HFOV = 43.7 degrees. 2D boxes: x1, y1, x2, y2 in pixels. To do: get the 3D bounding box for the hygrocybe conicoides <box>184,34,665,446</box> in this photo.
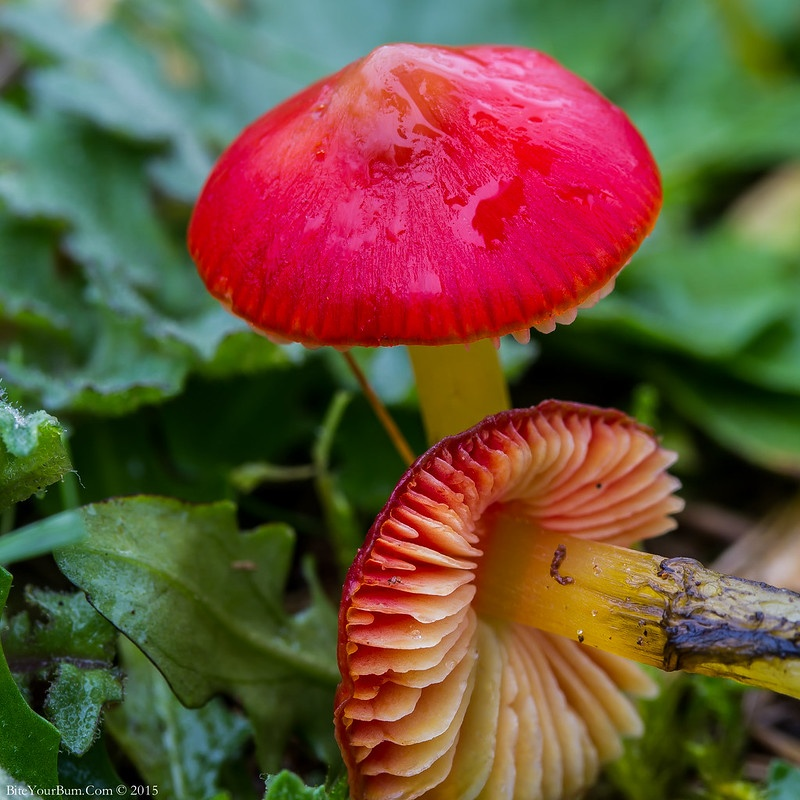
[{"bbox_3d":[0.012,-0.126,0.950,0.338,0.358,0.306,-12,47,-4],"label":"hygrocybe conicoides"}]
